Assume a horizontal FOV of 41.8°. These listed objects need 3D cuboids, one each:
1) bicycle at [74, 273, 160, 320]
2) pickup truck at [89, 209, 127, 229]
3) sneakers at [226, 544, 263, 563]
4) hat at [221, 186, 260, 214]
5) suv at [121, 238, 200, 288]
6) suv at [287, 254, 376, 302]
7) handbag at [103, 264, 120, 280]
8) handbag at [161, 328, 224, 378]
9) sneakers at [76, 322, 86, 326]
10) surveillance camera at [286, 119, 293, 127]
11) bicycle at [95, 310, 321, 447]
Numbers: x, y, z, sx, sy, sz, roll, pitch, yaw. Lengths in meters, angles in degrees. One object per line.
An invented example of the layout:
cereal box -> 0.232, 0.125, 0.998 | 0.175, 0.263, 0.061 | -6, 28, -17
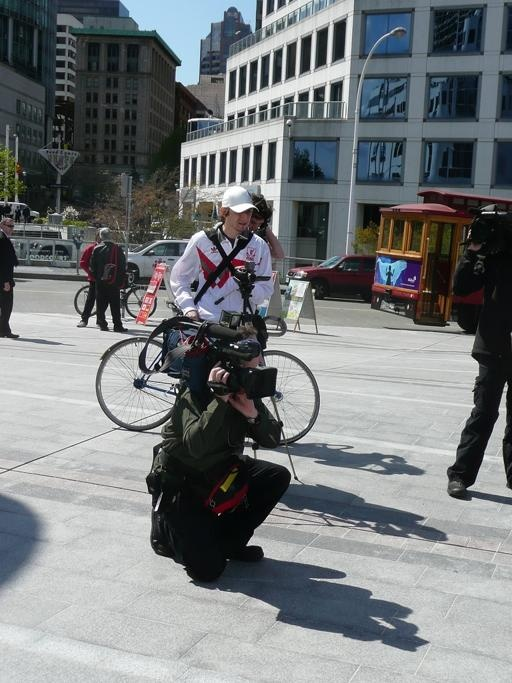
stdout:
bicycle -> -3.358, -1.029, 16.089 | 2.016, 1.107, 0.960 | 2, 13, -9
pickup truck -> -12.650, -10.519, 57.396 | 1.578, 2.332, 10.774 | 1, 6, -20
sneakers -> -0.050, 1.008, 3.191 | 0.149, 0.042, 0.081 | -3, 0, 30
hat -> -0.099, -0.808, 3.847 | 0.153, 0.115, 0.215 | -4, 14, -24
suv -> -4.503, -3.555, 29.069 | 3.668, 1.755, 1.826 | -1, 19, -32
suv -> 3.223, -2.667, 28.180 | 3.457, 1.544, 1.916 | 2, 4, -5
handbag -> -2.917, -1.367, 13.372 | 0.275, 0.355, 0.178 | 0, 7, -30
handbag -> -0.319, 0.058, 3.162 | 0.170, 0.227, 0.318 | 35, -33, -23
sneakers -> -3.553, -0.339, 13.652 | 0.174, 0.113, 0.349 | 2, 6, -16
surveillance camera -> 2.036, -13.550, 41.685 | 0.407, 0.486, 0.334 | 6, 7, 20
bicycle -> -0.502, 0.100, 5.610 | 1.993, 1.152, 0.923 | -10, 8, 23
